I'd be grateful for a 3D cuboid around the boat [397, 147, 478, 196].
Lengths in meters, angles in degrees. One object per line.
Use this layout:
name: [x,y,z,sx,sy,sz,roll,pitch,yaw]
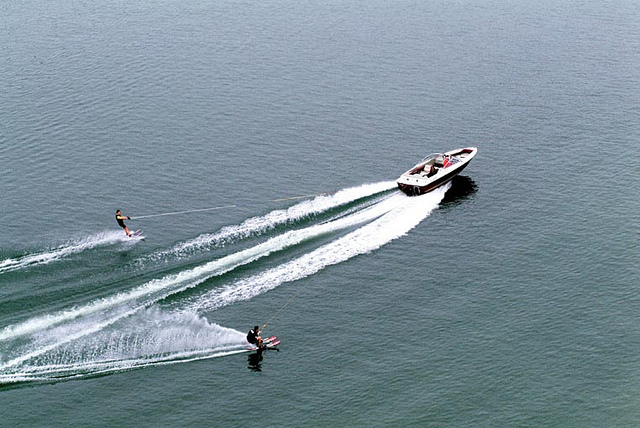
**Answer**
boat: [15.573,-5.873,106.627,4.918,2.305,11.335,37,59,15]
